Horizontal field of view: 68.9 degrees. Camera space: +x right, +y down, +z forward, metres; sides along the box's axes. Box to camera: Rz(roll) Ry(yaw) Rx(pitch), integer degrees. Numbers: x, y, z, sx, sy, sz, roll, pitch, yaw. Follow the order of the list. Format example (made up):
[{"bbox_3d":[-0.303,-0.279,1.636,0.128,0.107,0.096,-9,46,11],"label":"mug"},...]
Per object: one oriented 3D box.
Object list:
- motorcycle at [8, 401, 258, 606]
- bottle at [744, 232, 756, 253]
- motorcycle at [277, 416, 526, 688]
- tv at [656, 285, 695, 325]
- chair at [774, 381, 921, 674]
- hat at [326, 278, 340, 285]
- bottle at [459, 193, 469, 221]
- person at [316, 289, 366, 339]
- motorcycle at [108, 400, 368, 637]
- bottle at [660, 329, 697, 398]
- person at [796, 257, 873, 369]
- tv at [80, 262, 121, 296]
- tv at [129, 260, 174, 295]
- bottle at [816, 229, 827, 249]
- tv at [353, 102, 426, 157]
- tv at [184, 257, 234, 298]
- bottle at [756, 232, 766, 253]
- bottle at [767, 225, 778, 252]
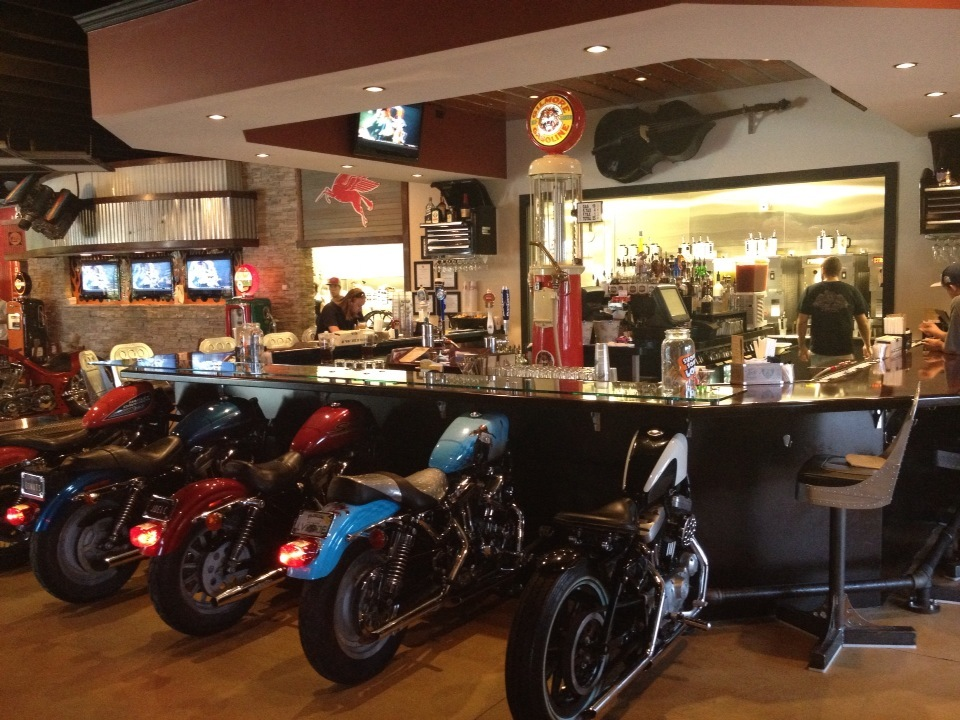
[{"bbox_3d":[-1.945,0.807,4.492,0.992,0.862,1.547,4,10,34],"label":"motorcycle"},{"bbox_3d":[3.745,-1.643,9.671,0.130,0.257,0.437,2,12,19],"label":"bottle"},{"bbox_3d":[-0.061,0.867,3.729,0.790,0.991,1.825,4,10,34],"label":"motorcycle"},{"bbox_3d":[1.903,-0.544,6.869,0.168,0.416,0.490,-13,-7,27],"label":"tv"},{"bbox_3d":[1.911,0.803,3.523,0.675,1.332,0.665,-2,13,5],"label":"chair"},{"bbox_3d":[-1.949,-1.084,9.325,0.141,0.080,0.177,2,-4,6],"label":"hat"},{"bbox_3d":[-0.195,-1.913,8.684,0.111,0.321,0.123,-3,13,0],"label":"bottle"},{"bbox_3d":[-1.618,-0.588,8.134,0.537,0.478,0.794,-5,12,-13],"label":"person"},{"bbox_3d":[-1.153,0.812,4.221,0.872,0.921,1.674,5,10,33],"label":"motorcycle"},{"bbox_3d":[1.039,-0.005,3.636,0.166,0.283,0.306,1,13,16],"label":"bottle"},{"bbox_3d":[3.515,-0.462,6.903,0.400,1.109,0.851,-7,13,-19],"label":"person"},{"bbox_3d":[-7.313,-1.566,13.456,1.068,0.688,0.132,4,15,27],"label":"tv"},{"bbox_3d":[-5.968,-1.521,12.721,0.963,0.616,0.237,5,15,32],"label":"tv"},{"bbox_3d":[4.563,-1.611,9.261,0.159,0.252,0.288,3,13,25],"label":"bottle"},{"bbox_3d":[-0.903,-2.239,6.727,0.663,0.569,0.077,-14,27,-38],"label":"tv"},{"bbox_3d":[-4.658,-1.443,12.076,1.049,0.682,0.150,4,14,26],"label":"tv"},{"bbox_3d":[3.891,-1.638,9.617,0.109,0.251,0.440,2,13,21],"label":"bottle"},{"bbox_3d":[4.033,-1.654,9.621,0.147,0.349,0.408,2,13,22],"label":"bottle"}]
